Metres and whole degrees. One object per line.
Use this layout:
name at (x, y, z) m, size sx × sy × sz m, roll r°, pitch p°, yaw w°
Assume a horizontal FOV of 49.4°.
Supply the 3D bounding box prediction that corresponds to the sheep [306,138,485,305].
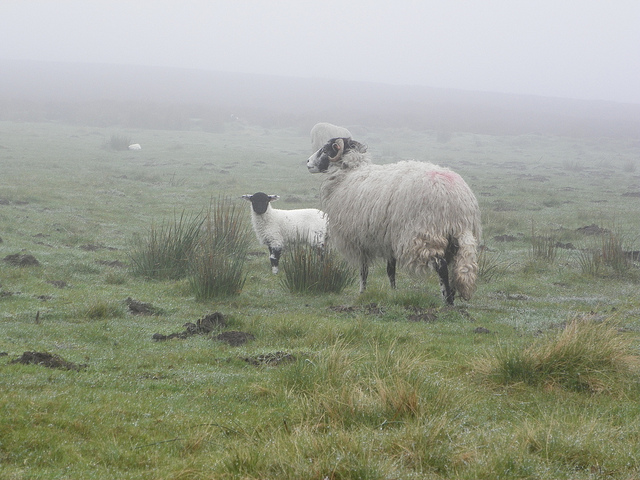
sheep at (1.229, -0.314, 11.142) m, size 0.942 × 2.572 × 3.109 m, roll -2°, pitch 8°, yaw -35°

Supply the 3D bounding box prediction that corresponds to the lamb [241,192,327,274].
lamb at (-0.745, -0.317, 15.272) m, size 1.586 × 1.887 × 1.572 m, roll -12°, pitch 20°, yaw -40°
